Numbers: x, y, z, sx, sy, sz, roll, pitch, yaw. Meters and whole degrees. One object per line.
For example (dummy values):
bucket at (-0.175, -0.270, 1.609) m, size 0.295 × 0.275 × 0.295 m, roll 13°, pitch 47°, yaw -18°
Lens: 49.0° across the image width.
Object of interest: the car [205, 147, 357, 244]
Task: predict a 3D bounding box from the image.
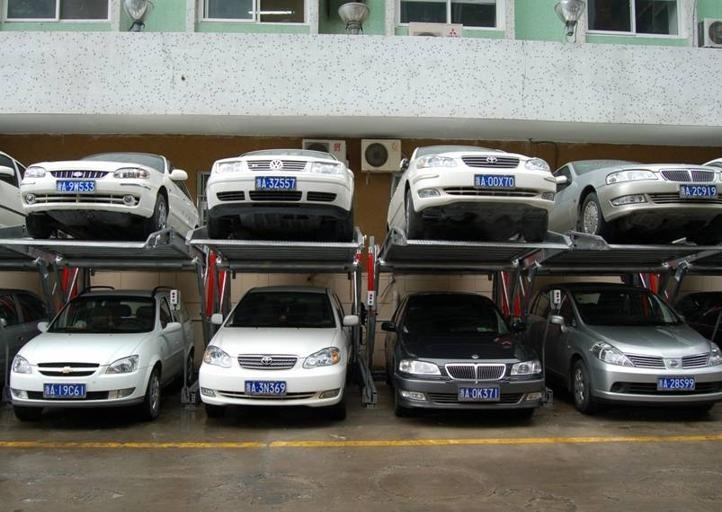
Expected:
car at (-1.304, -0.956, 14.284) m, size 2.576 × 1.843 × 5.211 m, roll -1°, pitch -6°, yaw -4°

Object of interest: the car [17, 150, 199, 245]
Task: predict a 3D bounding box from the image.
car at (-3.930, -0.861, 12.792) m, size 1.693 × 1.487 × 2.633 m, roll 6°, pitch 12°, yaw 30°

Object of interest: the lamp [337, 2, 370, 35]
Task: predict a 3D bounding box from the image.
lamp at (-0.161, -4.716, 15.771) m, size 0.654 × 0.638 × 0.695 m, roll 0°, pitch -15°, yaw 0°

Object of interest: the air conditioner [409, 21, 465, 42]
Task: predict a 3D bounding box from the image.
air conditioner at (1.476, -4.511, 15.868) m, size 1.080 × 0.308 × 0.495 m, roll 1°, pitch 10°, yaw 6°

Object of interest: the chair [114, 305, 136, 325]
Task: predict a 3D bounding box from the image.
chair at (-3.838, 0.975, 12.931) m, size 0.290 × 0.328 × 0.270 m, roll 2°, pitch -9°, yaw -10°

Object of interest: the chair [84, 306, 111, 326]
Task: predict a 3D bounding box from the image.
chair at (-4.255, 0.982, 12.855) m, size 0.325 × 0.300 × 0.341 m, roll 0°, pitch -7°, yaw -2°

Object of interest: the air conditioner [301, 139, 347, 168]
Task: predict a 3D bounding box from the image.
air conditioner at (-0.754, -2.083, 16.381) m, size 1.016 × 0.915 × 0.613 m, roll 1°, pitch -3°, yaw -3°

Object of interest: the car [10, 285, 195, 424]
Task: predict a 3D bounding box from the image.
car at (-4.000, 1.581, 13.062) m, size 1.612 × 1.403 × 2.779 m, roll -1°, pitch -11°, yaw -4°

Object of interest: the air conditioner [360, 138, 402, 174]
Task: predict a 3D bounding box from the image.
air conditioner at (0.420, -2.013, 16.343) m, size 0.855 × 0.732 × 0.360 m, roll 0°, pitch -12°, yaw -2°

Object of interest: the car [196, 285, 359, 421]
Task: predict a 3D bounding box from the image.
car at (-1.229, 1.581, 13.847) m, size 2.344 × 2.286 × 4.664 m, roll 0°, pitch -4°, yaw 5°

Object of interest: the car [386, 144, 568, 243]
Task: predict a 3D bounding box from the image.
car at (1.773, -1.056, 13.922) m, size 2.306 × 1.880 × 4.410 m, roll 0°, pitch -10°, yaw 0°

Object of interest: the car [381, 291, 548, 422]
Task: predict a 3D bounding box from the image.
car at (1.536, 1.663, 12.661) m, size 2.176 × 1.596 × 2.223 m, roll -2°, pitch 11°, yaw -11°

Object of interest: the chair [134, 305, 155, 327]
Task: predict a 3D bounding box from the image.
chair at (-3.476, 0.995, 12.875) m, size 0.242 × 0.359 × 0.328 m, roll 2°, pitch 22°, yaw -4°
